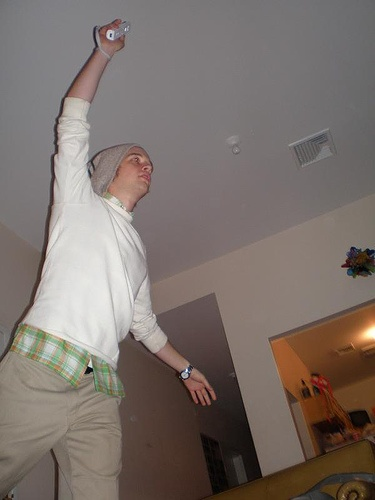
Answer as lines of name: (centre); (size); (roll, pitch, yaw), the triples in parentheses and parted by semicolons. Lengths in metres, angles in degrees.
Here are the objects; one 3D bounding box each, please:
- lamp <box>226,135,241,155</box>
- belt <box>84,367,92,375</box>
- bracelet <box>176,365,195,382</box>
lamp: (0.304, -0.699, 2.441); (0.089, 0.071, 0.102); (-18, -28, 11)
belt: (-0.223, 0.270, 0.830); (0.016, 0.011, 0.021); (-3, -28, -17)
bracelet: (-0.008, 0.469, 1.411); (0.047, 0.064, 0.016); (45, -28, -11)
